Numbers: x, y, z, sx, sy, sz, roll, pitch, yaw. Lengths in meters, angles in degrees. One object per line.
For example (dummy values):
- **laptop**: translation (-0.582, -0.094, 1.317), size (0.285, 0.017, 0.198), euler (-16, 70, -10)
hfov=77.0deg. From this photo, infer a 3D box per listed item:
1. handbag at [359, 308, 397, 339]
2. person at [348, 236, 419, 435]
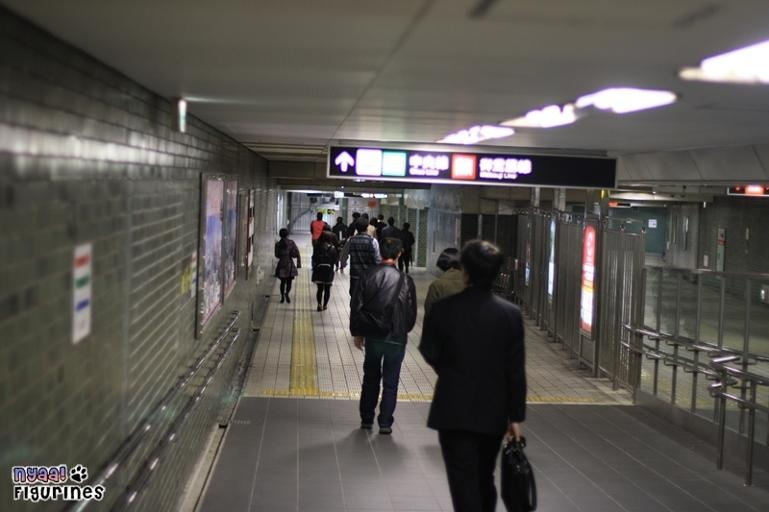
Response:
- **handbag**: translation (-0.081, 0.756, 5.473), size (0.370, 0.376, 0.278), euler (1, -1, -5)
- **person**: translation (-0.032, 0.926, 5.687), size (0.750, 2.252, 0.444), euler (2, 6, 1)
